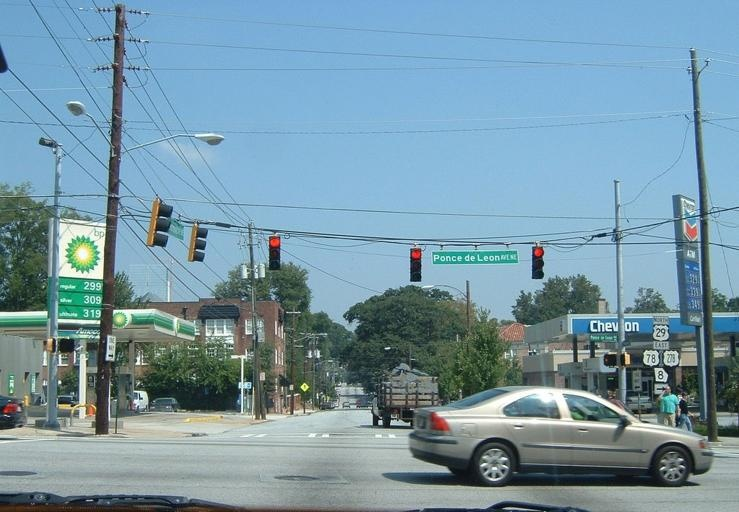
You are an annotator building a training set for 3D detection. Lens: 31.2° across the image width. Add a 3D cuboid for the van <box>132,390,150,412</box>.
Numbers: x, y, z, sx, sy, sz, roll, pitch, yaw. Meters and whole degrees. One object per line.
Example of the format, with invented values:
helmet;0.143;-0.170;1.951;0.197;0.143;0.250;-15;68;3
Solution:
van;-17.128;10.862;98.314;1.573;1.291;2.422;-1;-12;2
